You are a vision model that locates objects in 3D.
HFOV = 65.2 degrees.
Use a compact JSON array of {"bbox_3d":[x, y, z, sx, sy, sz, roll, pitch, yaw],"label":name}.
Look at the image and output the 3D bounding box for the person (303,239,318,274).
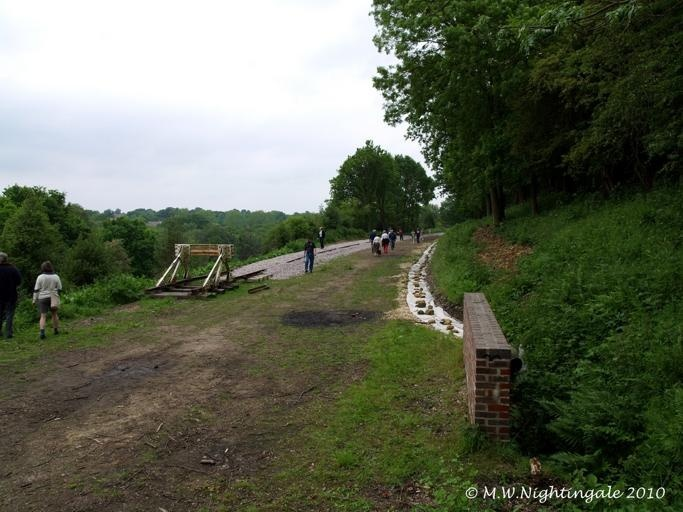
[{"bbox_3d":[-1.540,-0.033,26.056,0.501,1.526,2.085,-3,7,-4],"label":"person"}]
